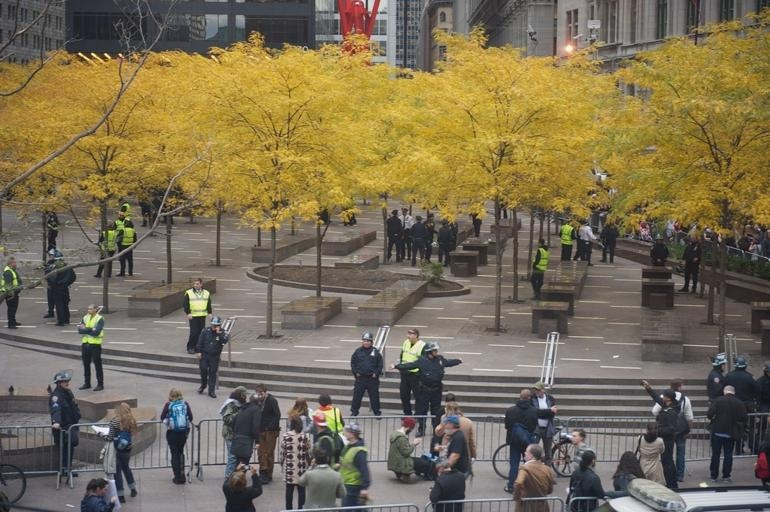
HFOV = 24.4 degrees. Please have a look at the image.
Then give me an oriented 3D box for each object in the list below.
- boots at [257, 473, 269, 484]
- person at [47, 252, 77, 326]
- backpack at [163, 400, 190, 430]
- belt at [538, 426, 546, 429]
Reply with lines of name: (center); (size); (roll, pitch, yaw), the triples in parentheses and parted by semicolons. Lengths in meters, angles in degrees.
boots: (-4.155, 7.588, 61.308); (0.345, 0.461, 0.289); (0, 7, -7)
person: (-13.241, 1.362, 71.875); (1.149, 2.855, 1.462); (3, 3, 27)
backpack: (-7.160, 5.418, 61.044); (0.892, 1.017, 0.328); (0, 7, -6)
belt: (5.372, 5.923, 61.800); (0.285, 0.128, 0.050); (1, 7, 2)
